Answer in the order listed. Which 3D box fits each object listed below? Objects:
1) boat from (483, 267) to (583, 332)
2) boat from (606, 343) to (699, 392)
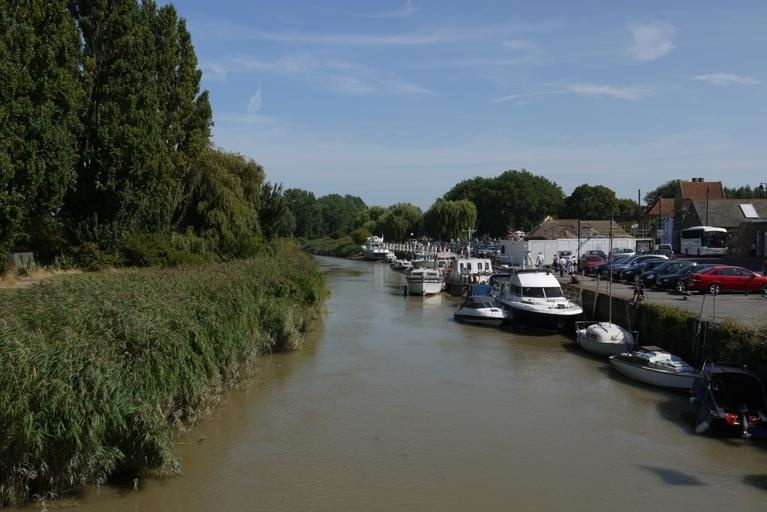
[{"bbox_3d":[9.781,3.004,39.379,2.928,3.413,6.027,-2,12,-16],"label":"boat"},{"bbox_3d":[12.408,5.105,28.409,1.567,0.923,2.605,-3,9,-30],"label":"boat"}]
